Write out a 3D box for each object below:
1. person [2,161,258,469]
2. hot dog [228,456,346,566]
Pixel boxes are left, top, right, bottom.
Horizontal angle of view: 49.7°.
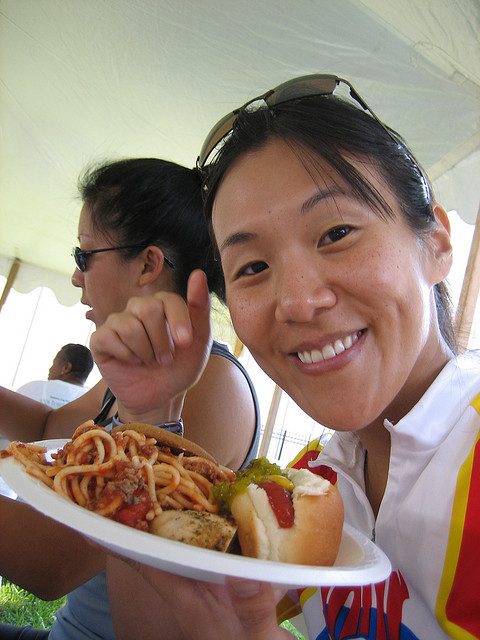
[{"bbox_3d":[-0.513,-0.072,2.786,1.392,1.778,0.719,7,-29,-13],"label":"person"},{"bbox_3d":[0.097,0.420,1.157,0.255,0.186,0.264,5,-4,0],"label":"hot dog"}]
